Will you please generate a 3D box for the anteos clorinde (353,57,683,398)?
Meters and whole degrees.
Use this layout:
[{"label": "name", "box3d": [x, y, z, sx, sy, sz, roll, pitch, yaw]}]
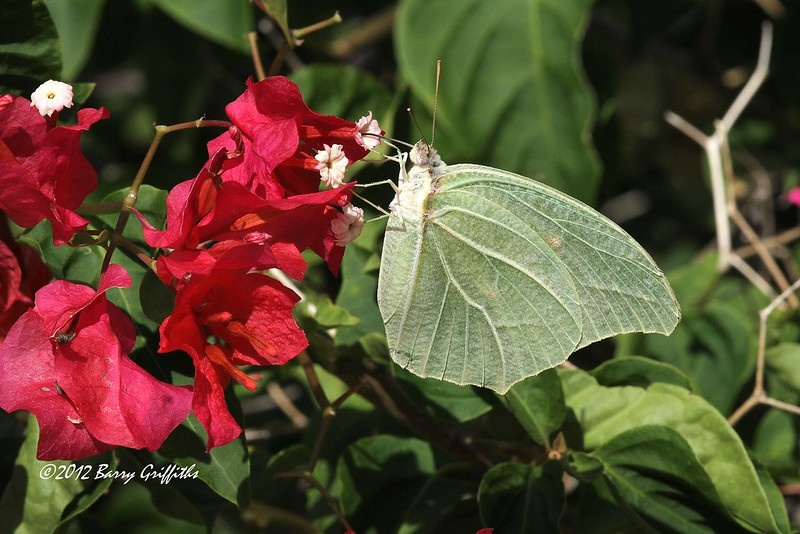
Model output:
[{"label": "anteos clorinde", "box3d": [0.193, -0.059, 1.318, 0.517, 0.305, 0.454, 30, 1, -25]}]
